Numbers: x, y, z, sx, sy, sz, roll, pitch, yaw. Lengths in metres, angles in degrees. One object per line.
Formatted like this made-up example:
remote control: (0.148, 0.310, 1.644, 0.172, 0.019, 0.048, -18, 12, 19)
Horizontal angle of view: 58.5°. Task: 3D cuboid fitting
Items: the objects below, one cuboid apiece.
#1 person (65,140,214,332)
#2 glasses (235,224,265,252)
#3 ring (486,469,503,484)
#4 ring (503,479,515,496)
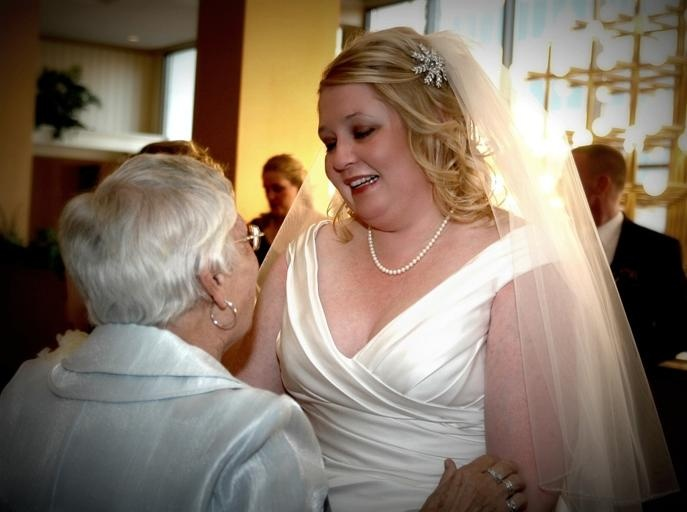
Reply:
person: (-0.724, 0.022, 2.245, 0.292, 0.862, 0.650, -3, 14, -37)
glasses: (-0.264, -0.058, 1.749, 0.066, 0.056, 0.034, -15, -3, -23)
ring: (0.445, 0.644, 1.799, 0.041, 0.017, 0.032, 40, 31, 10)
ring: (0.483, 0.672, 1.778, 0.013, 0.037, 0.025, -27, 11, -32)
